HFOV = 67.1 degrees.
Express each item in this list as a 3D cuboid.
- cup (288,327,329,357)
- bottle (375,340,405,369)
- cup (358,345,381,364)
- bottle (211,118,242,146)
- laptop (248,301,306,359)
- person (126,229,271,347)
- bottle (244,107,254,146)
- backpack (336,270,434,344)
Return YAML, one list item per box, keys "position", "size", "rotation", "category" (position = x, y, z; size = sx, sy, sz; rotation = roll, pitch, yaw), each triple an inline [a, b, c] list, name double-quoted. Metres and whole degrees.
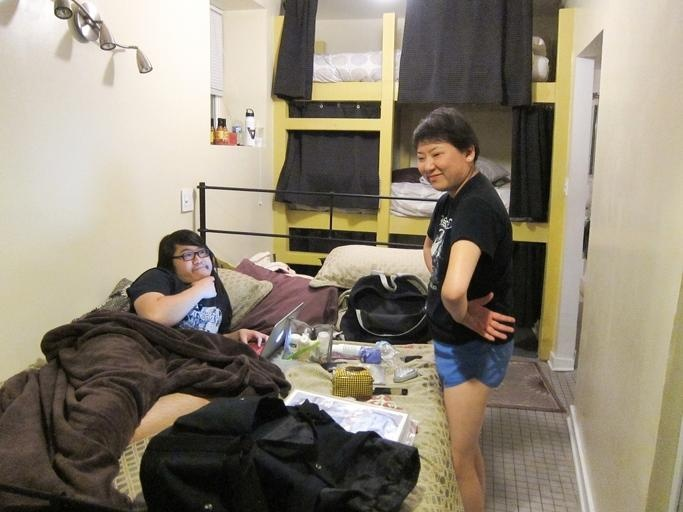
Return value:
- position: [-0.148, 0.385, 2.261]
  size: [0.116, 0.082, 0.126]
  rotation: [-1, 5, 0]
  category: "cup"
- position: [0.219, 0.433, 2.292]
  size: [0.065, 0.047, 0.117]
  rotation: [-19, 40, -20]
  category: "bottle"
- position: [0.126, 0.434, 2.250]
  size: [0.078, 0.055, 0.056]
  rotation: [0, 19, 8]
  category: "cup"
- position: [-0.792, -0.833, 3.549]
  size: [0.224, 0.239, 0.242]
  rotation: [2, 10, 9]
  category: "bottle"
- position: [-0.276, 0.352, 2.296]
  size: [0.176, 0.177, 0.255]
  rotation: [25, 11, 14]
  category: "laptop"
- position: [-0.669, 0.195, 2.442]
  size: [0.535, 0.372, 0.888]
  rotation: [19, 10, -27]
  category: "person"
- position: [-0.664, -0.932, 3.739]
  size: [0.071, 0.259, 0.172]
  rotation: [-1, 10, -9]
  category: "bottle"
- position: [0.244, 0.287, 2.808]
  size: [0.522, 0.211, 0.592]
  rotation: [11, 25, 25]
  category: "backpack"
